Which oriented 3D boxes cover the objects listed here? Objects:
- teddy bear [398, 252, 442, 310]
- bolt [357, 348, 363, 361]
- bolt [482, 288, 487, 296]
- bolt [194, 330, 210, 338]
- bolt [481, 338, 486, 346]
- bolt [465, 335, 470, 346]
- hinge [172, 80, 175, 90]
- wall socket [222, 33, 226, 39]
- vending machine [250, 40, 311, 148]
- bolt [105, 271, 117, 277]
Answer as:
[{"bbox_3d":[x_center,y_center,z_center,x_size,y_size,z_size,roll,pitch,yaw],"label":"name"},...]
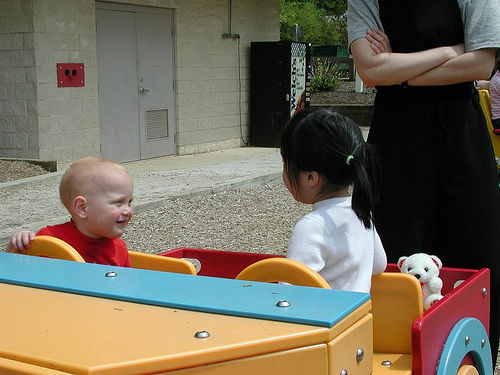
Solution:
[{"bbox_3d":[0.718,0.398,1.927,0.172,0.234,0.164,-5,-5,25],"label":"teddy bear"},{"bbox_3d":[0.234,0.358,0.979,0.006,0.022,0.019,8,17,26],"label":"bolt"},{"bbox_3d":[0.885,0.395,1.727,0.013,0.049,0.007,2,10,1],"label":"bolt"},{"bbox_3d":[-0.090,0.274,0.855,0.029,0.003,0.028,-1,11,-7],"label":"bolt"},{"bbox_3d":[0.815,0.540,1.599,0.011,0.036,0.005,0,-11,2],"label":"bolt"},{"bbox_3d":[0.701,0.495,1.480,0.010,0.027,0.018,11,-29,25],"label":"bolt"},{"bbox_3d":[-1.686,-2.245,10.021,0.016,0.210,0.059,9,14,40],"label":"hinge"},{"bbox_3d":[-0.644,-3.609,10.882,0.134,0.136,0.033,1,4,-8],"label":"wall socket"},{"bbox_3d":[0.835,-2.553,11.983,1.195,2.431,1.399,13,26,21],"label":"vending machine"},{"bbox_3d":[-0.349,0.218,1.146,0.031,0.003,0.024,2,11,10],"label":"bolt"}]
